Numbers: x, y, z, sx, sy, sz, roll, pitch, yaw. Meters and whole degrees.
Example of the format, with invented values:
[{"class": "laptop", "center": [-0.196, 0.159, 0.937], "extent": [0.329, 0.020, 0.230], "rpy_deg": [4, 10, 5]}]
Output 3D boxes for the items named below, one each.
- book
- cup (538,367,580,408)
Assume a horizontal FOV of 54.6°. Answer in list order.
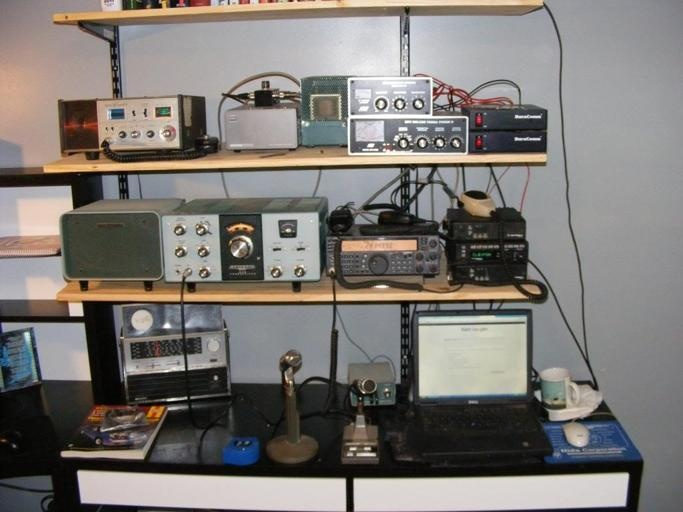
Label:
[{"class": "book", "center": [-1.050, 0.812, 3.101], "extent": [0.373, 0.040, 0.419], "rpy_deg": [-2, 13, -2]}, {"class": "cup", "center": [1.056, 0.653, 3.150], "extent": [0.127, 0.145, 0.201], "rpy_deg": [-20, 17, -35]}]
